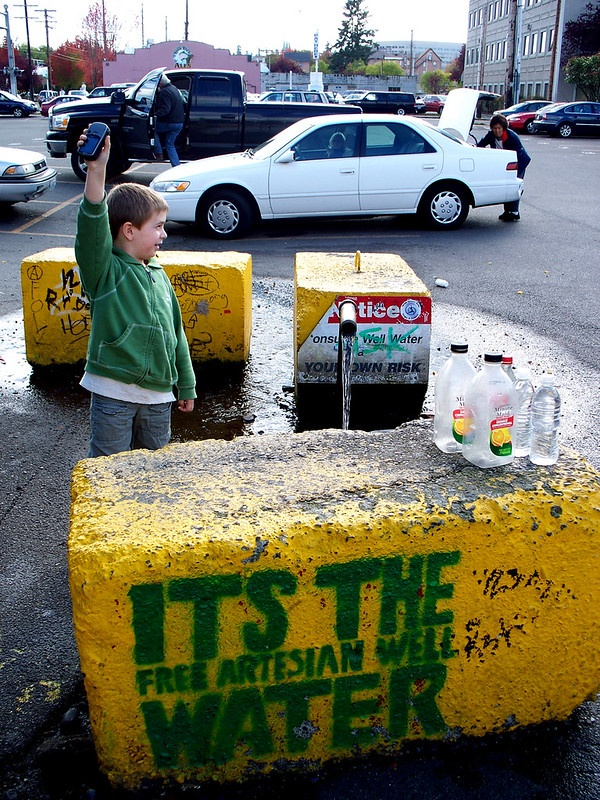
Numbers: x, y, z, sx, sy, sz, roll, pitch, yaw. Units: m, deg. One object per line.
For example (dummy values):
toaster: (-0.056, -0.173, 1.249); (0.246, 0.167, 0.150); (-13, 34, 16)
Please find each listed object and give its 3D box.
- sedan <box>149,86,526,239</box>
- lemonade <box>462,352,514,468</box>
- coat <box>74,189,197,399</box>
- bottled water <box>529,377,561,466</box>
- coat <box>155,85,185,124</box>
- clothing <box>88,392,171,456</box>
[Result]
sedan: (0.413, -3.617, 11.527); (5.502, 1.961, 1.914); (-4, 18, -9)
lemonade: (0.582, 0.027, 2.331); (0.170, 0.365, 0.133); (5, 23, 8)
coat: (-0.618, -0.343, 2.941); (0.463, 0.876, 0.298); (-10, 26, -24)
bottled water: (0.771, 0.053, 2.405); (0.106, 0.287, 0.149); (9, 24, 17)
coat: (-2.304, -5.023, 13.213); (0.325, 0.498, 0.596); (16, 37, 17)
clothing: (-0.665, 0.089, 2.956); (0.228, 0.416, 0.147); (-5, 13, -42)
